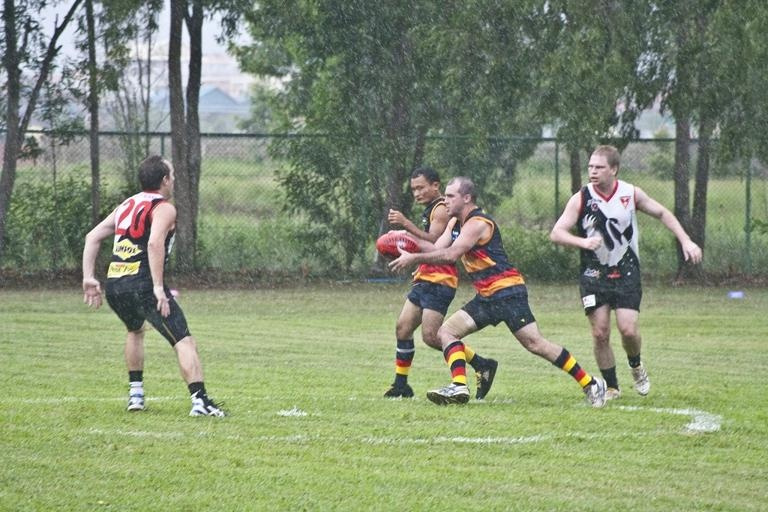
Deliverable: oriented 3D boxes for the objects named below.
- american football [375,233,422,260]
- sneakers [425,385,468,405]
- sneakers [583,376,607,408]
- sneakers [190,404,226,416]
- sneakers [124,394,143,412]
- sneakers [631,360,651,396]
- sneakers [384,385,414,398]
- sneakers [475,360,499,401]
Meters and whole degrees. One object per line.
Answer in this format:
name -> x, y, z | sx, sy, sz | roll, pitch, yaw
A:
american football -> 0.211, -0.147, 18.320 | 0.573, 0.331, 0.367 | 11, -3, -17
sneakers -> 0.915, 1.944, 17.815 | 0.647, 0.248, 0.283 | 5, 35, -1
sneakers -> 3.034, 1.906, 17.887 | 0.260, 0.547, 0.190 | -10, 2, -7
sneakers -> -2.491, 2.166, 17.395 | 0.515, 0.206, 0.176 | 1, 0, -2
sneakers -> -3.540, 2.082, 17.489 | 0.190, 0.191, 0.434 | 2, -9, -17
sneakers -> 3.801, 1.820, 18.311 | 0.215, 0.562, 0.246 | -15, 7, 22
sneakers -> 0.214, 1.991, 18.231 | 0.474, 0.201, 0.168 | 2, -3, -6
sneakers -> 1.502, 1.802, 18.251 | 0.304, 0.667, 0.225 | 8, 18, -14
